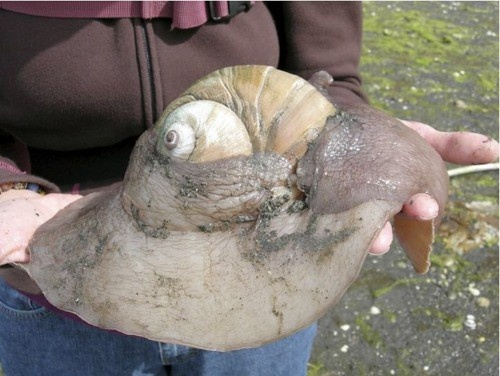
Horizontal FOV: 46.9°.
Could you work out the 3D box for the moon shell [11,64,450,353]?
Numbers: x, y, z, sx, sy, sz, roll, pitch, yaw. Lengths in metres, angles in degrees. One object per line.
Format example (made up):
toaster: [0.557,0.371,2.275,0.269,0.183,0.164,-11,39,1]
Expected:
moon shell: [-0.077,0.054,1.416,0.928,0.458,0.548,16,55,3]
